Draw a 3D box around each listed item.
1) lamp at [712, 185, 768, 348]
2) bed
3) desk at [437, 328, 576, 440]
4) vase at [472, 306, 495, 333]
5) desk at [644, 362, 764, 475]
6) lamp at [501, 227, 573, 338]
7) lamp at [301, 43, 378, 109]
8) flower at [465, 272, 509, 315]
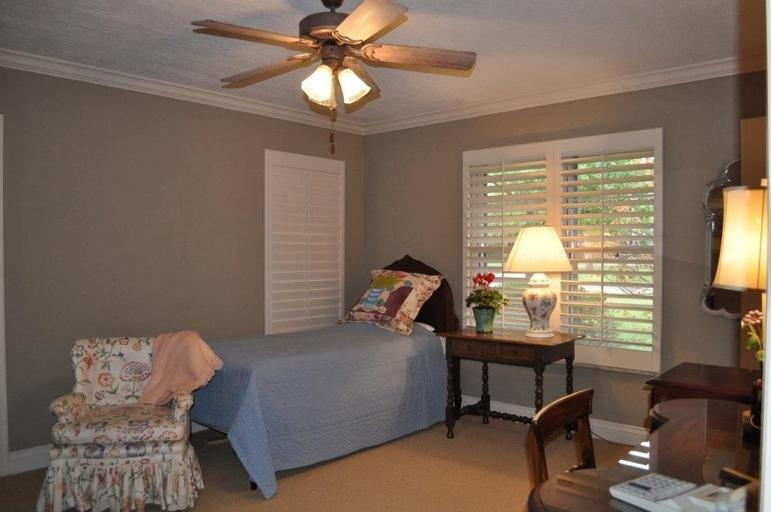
[{"bbox_3d":[1.831,-0.079,3.006,0.217,0.543,0.190,5,13,23],"label":"lamp"},{"bbox_3d":[-0.488,0.958,4.858,1.711,1.159,1.184,3,-4,-37],"label":"bed"},{"bbox_3d":[1.052,1.123,5.056,0.991,0.878,0.680,-1,-4,41],"label":"desk"},{"bbox_3d":[0.852,0.544,5.059,0.227,0.195,0.213,0,-4,12],"label":"vase"},{"bbox_3d":[1.662,0.910,3.355,0.506,0.560,0.640,4,11,5],"label":"desk"},{"bbox_3d":[1.301,0.209,4.872,0.569,0.912,0.347,-5,12,-22],"label":"lamp"},{"bbox_3d":[-0.392,-1.166,3.737,0.467,0.256,0.469,-7,-11,36],"label":"lamp"},{"bbox_3d":[0.895,0.339,5.239,0.387,0.355,0.372,3,-5,-12],"label":"flower"}]
